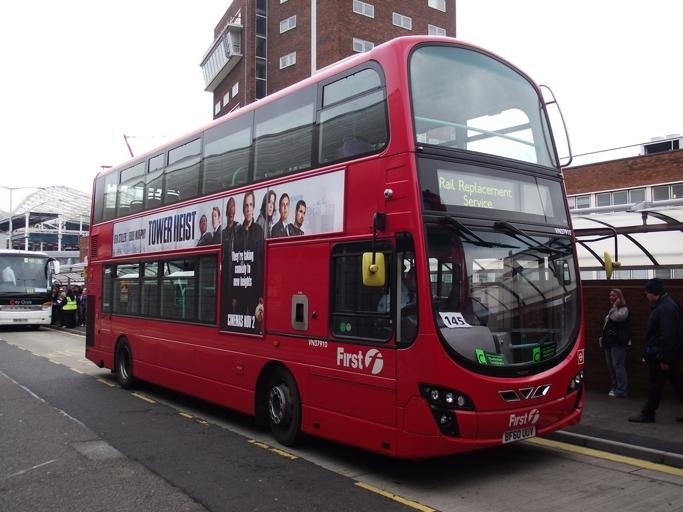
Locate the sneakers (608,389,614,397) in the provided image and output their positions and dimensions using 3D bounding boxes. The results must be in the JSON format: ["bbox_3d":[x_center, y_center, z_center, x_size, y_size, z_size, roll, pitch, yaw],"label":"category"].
[{"bbox_3d":[5.399,2.728,10.582,0.094,0.051,0.135,4,5,14],"label":"sneakers"}]

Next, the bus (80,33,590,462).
[{"bbox_3d":[-1.204,0.211,11.656,4.480,5.735,12.239,3,-5,-39],"label":"bus"}]

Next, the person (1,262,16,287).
[{"bbox_3d":[-16.627,0.898,26.414,0.567,1.038,0.241,0,-1,-35],"label":"person"}]

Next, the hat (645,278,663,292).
[{"bbox_3d":[5.202,0.476,8.788,0.231,0.188,0.229,-6,2,1],"label":"hat"}]

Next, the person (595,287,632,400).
[{"bbox_3d":[5.409,1.707,10.469,0.500,2.050,0.324,-1,-1,33],"label":"person"}]
